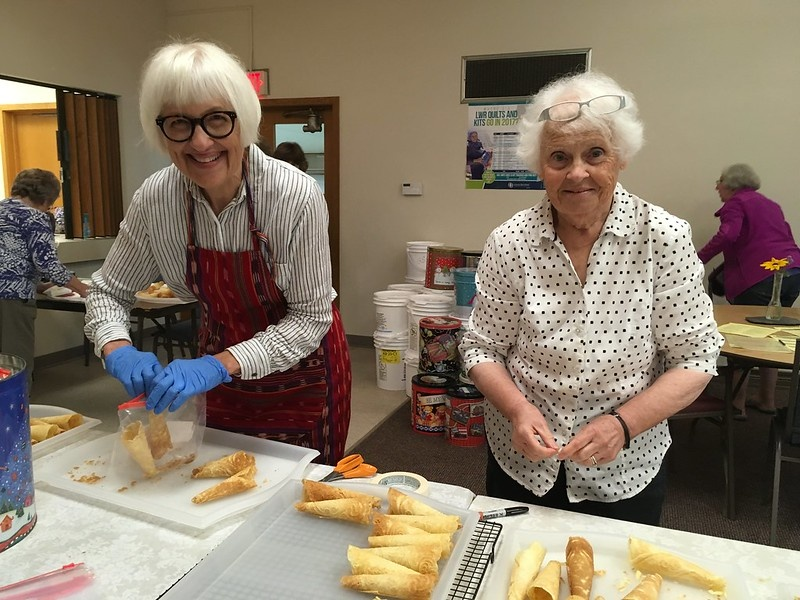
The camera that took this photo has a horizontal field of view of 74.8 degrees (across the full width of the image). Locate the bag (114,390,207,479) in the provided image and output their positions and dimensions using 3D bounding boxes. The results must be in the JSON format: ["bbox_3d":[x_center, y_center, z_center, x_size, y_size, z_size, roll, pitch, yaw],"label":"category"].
[{"bbox_3d":[-0.660,0.372,1.428,0.183,0.196,0.084,-15,27,-28],"label":"bag"}]

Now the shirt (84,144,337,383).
[{"bbox_3d":[-0.521,-0.128,1.810,0.757,0.609,0.720,9,31,7],"label":"shirt"}]

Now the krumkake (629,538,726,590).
[{"bbox_3d":[0.587,0.553,1.141,0.209,0.066,0.063,18,-14,23],"label":"krumkake"}]

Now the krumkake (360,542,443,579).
[{"bbox_3d":[0.012,0.531,1.101,0.108,0.046,0.064,7,3,16],"label":"krumkake"}]

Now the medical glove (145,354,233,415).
[{"bbox_3d":[-0.582,0.238,1.428,0.219,0.134,0.112,-6,13,-26],"label":"medical glove"}]

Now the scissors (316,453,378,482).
[{"bbox_3d":[-0.132,0.471,1.449,0.063,0.026,0.118,4,16,41],"label":"scissors"}]

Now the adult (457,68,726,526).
[{"bbox_3d":[0.567,0.028,1.506,0.757,1.355,0.495,0,12,3],"label":"adult"}]

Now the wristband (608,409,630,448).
[{"bbox_3d":[0.605,0.357,1.422,0.058,0.100,0.050,5,13,23],"label":"wristband"}]

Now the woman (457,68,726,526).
[{"bbox_3d":[0.567,0.028,1.506,0.757,1.355,0.494,0,12,3],"label":"woman"}]

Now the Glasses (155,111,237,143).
[{"bbox_3d":[-0.543,-0.453,1.376,0.211,0.083,0.052,0,12,2],"label":"Glasses"}]
